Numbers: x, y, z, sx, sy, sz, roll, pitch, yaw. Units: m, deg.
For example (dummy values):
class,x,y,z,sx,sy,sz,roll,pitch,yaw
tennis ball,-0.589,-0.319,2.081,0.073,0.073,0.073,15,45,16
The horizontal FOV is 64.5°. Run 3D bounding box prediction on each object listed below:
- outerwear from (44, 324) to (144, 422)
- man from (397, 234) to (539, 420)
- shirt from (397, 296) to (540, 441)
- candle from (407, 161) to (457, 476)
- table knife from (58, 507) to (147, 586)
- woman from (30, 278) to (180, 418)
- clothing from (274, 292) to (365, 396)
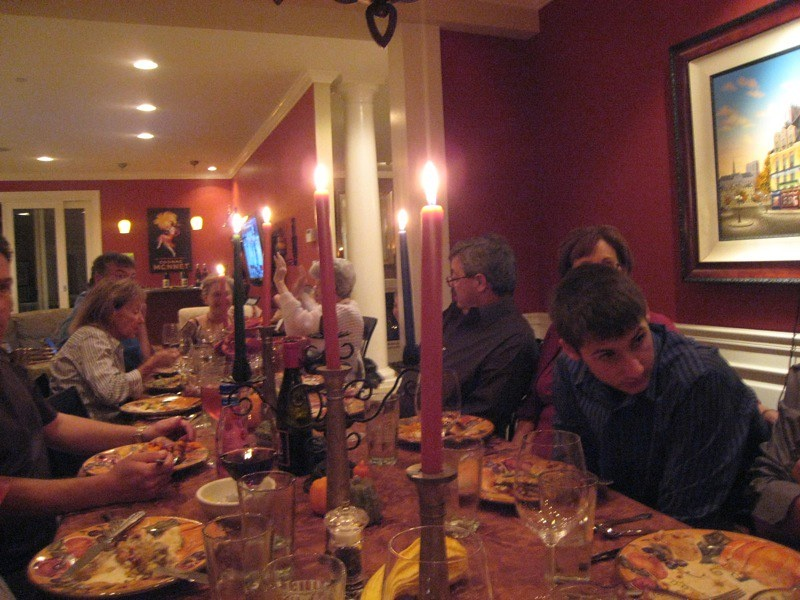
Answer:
class,x,y,z,sx,sy,sz,roll,pitch,yaw
outerwear,-1.496,0.351,3.192,0.438,0.470,0.436,2,-6,-33
man,0.235,0.125,3.265,0.711,1.098,1.334,-1,1,-2
shirt,0.287,0.285,3.085,0.519,0.741,0.948,10,-3,-6
candle,0.065,0.021,1.300,0.069,0.638,0.214,-3,5,9
table knife,-0.768,0.633,1.684,0.048,0.026,0.324,5,15,14
woman,-1.511,0.465,3.367,0.537,1.128,0.567,19,19,38
clothing,-0.473,0.265,3.913,0.573,0.790,0.460,0,-14,7
